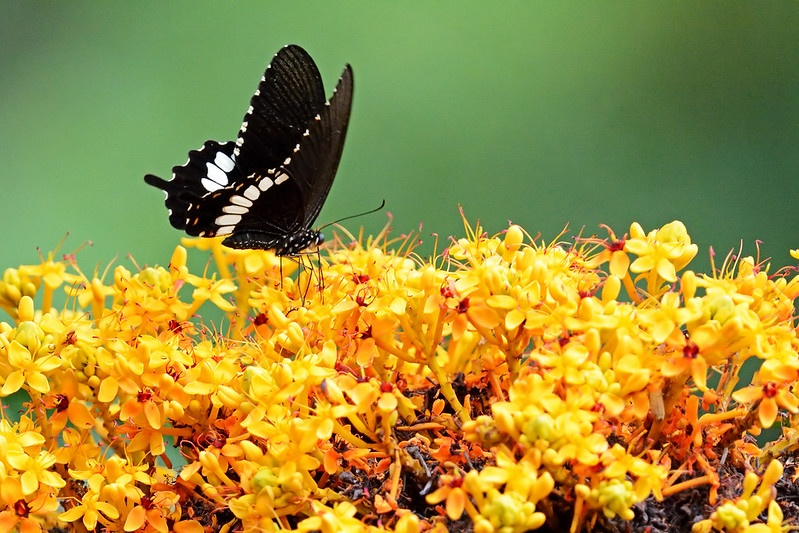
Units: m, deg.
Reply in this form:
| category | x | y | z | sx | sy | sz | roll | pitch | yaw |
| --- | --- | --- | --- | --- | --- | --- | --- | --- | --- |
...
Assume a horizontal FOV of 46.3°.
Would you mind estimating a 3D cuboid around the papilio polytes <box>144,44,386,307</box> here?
| category | x | y | z | sx | sy | sz | roll | pitch | yaw |
| --- | --- | --- | --- | --- | --- | --- | --- | --- | --- |
| papilio polytes | -0.400 | -0.216 | 2.188 | 0.534 | 0.500 | 0.551 | -5 | 0 | 35 |
